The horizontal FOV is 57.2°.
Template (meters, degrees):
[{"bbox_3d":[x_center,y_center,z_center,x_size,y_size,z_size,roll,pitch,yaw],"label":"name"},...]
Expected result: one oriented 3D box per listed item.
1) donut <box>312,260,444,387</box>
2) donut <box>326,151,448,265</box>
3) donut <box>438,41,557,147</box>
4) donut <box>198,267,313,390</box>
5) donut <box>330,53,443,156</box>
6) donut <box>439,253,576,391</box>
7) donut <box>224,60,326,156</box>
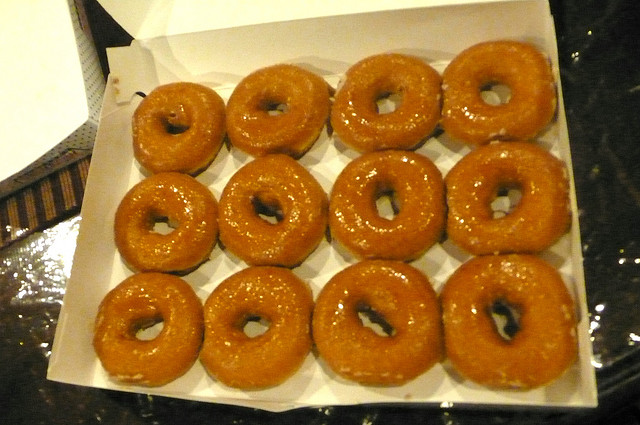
[{"bbox_3d":[0.215,0.417,2.246,0.498,0.175,0.443,-3,63,5],"label":"donut"},{"bbox_3d":[0.270,-0.015,2.342,0.461,0.226,0.408,-2,63,5],"label":"donut"},{"bbox_3d":[0.699,-0.468,2.331,0.445,0.192,0.384,4,63,8],"label":"donut"},{"bbox_3d":[-0.255,0.455,2.302,0.448,0.184,0.451,0,63,6],"label":"donut"},{"bbox_3d":[0.267,-0.506,2.461,0.372,0.380,0.142,-35,49,38],"label":"donut"},{"bbox_3d":[0.694,0.402,2.186,0.486,0.183,0.479,2,63,7],"label":"donut"},{"bbox_3d":[-0.183,-0.426,2.441,0.425,0.158,0.344,-9,62,2],"label":"donut"}]
